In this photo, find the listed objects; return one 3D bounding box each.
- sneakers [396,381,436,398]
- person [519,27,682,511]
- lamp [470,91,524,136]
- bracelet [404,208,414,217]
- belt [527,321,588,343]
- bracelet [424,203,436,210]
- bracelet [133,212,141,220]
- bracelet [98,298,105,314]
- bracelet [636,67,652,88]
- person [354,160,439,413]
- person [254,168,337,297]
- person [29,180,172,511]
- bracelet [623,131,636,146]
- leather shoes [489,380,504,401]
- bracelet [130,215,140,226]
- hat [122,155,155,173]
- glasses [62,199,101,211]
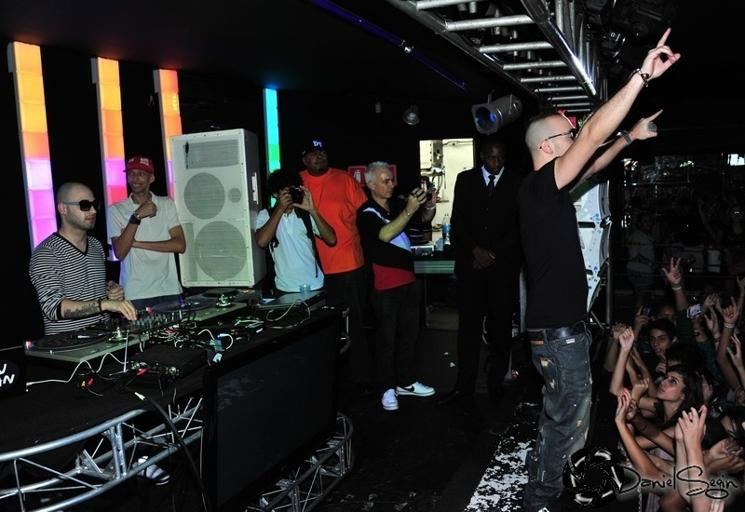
[{"bbox_3d":[0.388,1.235,5.147,0.363,0.139,0.137,-2,-4,9],"label":"sneakers"},{"bbox_3d":[1.191,0.184,3.161,0.784,2.679,0.796,-4,2,-13],"label":"person"},{"bbox_3d":[1.358,-1.559,5.936,0.596,0.316,0.344,-32,35,-33],"label":"lamp"},{"bbox_3d":[0.288,-0.367,4.576,0.075,0.028,0.071,4,-13,4],"label":"bracelet"},{"bbox_3d":[1.047,0.442,3.156,0.329,0.145,0.128,-3,2,18],"label":"belt"},{"bbox_3d":[0.556,-0.487,5.398,0.067,0.062,0.063,-1,11,-3],"label":"bracelet"},{"bbox_3d":[-1.936,-0.335,4.553,0.024,0.042,0.054,-40,-13,-49],"label":"bracelet"},{"bbox_3d":[-1.738,0.306,3.540,0.031,0.074,0.076,5,-36,-19],"label":"bracelet"},{"bbox_3d":[1.380,-0.927,2.850,0.064,0.055,0.106,-33,32,11],"label":"bracelet"},{"bbox_3d":[0.310,0.252,4.889,0.662,1.648,0.588,-2,2,41],"label":"person"},{"bbox_3d":[-0.641,-0.242,4.790,0.679,0.920,0.773,-5,2,-22],"label":"person"},{"bbox_3d":[-1.991,0.532,3.883,0.611,2.237,0.934,-5,2,-32],"label":"person"},{"bbox_3d":[1.620,-0.741,3.521,0.033,0.083,0.085,-37,14,21],"label":"bracelet"},{"bbox_3d":[1.091,1.207,4.952,0.158,0.170,0.154,1,-12,-3],"label":"leather shoes"},{"bbox_3d":[-1.952,-0.302,4.572,0.085,0.089,0.061,-9,2,-3],"label":"bracelet"},{"bbox_3d":[-1.973,-0.781,4.712,0.174,0.115,0.227,1,-11,9],"label":"hat"},{"bbox_3d":[-2.037,-0.356,3.889,0.214,0.090,0.102,-5,2,-31],"label":"glasses"}]
